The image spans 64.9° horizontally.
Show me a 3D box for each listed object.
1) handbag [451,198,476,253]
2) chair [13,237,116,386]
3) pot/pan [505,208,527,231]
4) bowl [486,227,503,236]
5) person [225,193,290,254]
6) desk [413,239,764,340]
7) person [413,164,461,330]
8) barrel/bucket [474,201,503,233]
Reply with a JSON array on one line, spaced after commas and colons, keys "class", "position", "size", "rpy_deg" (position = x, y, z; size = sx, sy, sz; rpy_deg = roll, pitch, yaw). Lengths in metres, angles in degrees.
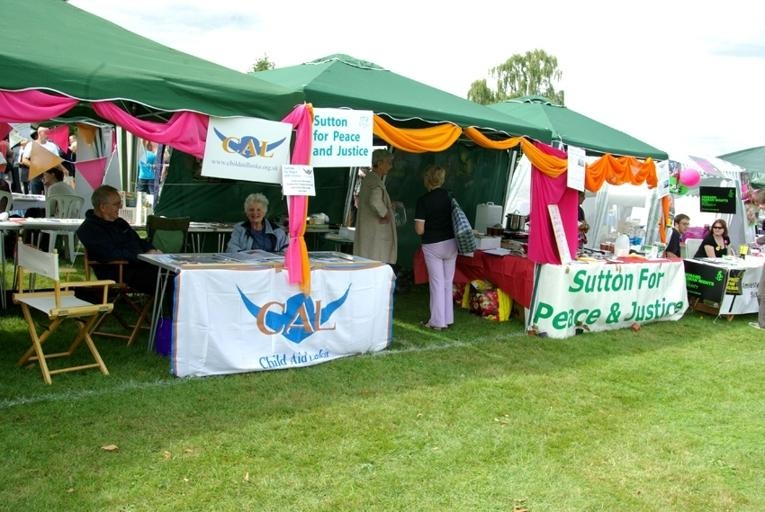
[{"class": "handbag", "position": [1.003, -0.364, 7.444], "size": [0.279, 0.704, 0.481], "rpy_deg": [1, 3, 6]}, {"class": "chair", "position": [-3.236, 0.601, 6.088], "size": [1.115, 1.578, 0.902], "rpy_deg": [12, 11, 43]}, {"class": "pot/pan", "position": [2.012, -0.525, 8.911], "size": [0.327, 0.293, 0.338], "rpy_deg": [1, -1, 10]}, {"class": "bowl", "position": [1.573, -0.336, 8.338], "size": [0.166, 0.135, 0.175], "rpy_deg": [1, 0, 0]}, {"class": "person", "position": [-1.445, -0.361, 6.972], "size": [0.789, 0.932, 0.612], "rpy_deg": [-3, 7, -25]}, {"class": "desk", "position": [2.780, 0.470, 8.128], "size": [2.878, 1.021, 1.166], "rpy_deg": [0, 3, -16]}, {"class": "person", "position": [0.683, -0.090, 7.455], "size": [0.519, 2.012, 0.512], "rpy_deg": [1, 3, 4]}, {"class": "barrel/bucket", "position": [1.573, -0.567, 8.726], "size": [0.340, 0.693, 0.494], "rpy_deg": [3, 3, 17]}]
